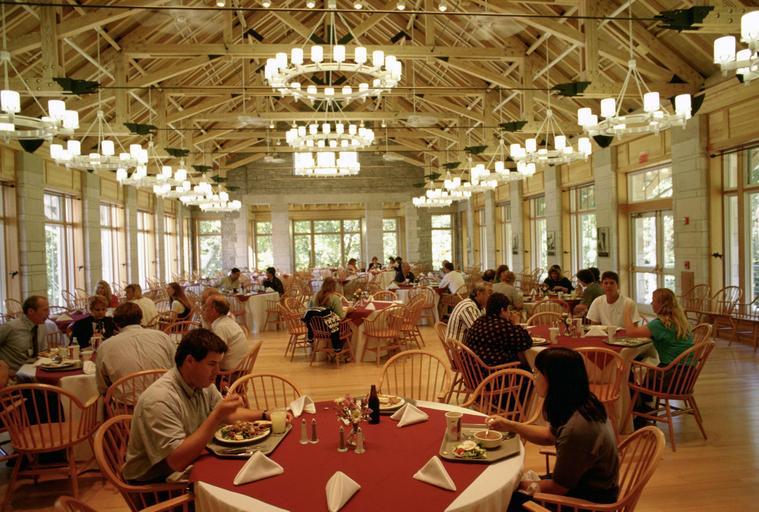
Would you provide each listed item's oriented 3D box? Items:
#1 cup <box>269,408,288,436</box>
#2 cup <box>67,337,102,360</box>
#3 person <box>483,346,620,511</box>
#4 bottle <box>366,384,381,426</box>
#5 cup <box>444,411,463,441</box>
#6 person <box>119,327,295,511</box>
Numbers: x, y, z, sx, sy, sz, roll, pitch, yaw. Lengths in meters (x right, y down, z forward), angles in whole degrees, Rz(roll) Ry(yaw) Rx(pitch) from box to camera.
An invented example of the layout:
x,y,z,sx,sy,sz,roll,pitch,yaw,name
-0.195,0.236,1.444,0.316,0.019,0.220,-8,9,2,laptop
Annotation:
x,y,z,sx,sy,sz,roll,pitch,yaw,name
-0.910,1.549,5.722,0.178,0.207,0.182,-1,2,0,cup
-3.693,1.167,7.768,0.413,0.416,0.283,4,-2,-37,cup
1.599,1.519,5.467,0.938,1.434,0.362,-3,-3,20,person
-0.048,1.413,5.941,0.125,0.356,0.450,-2,-3,-2,bottle
0.682,1.551,5.640,0.132,0.238,0.164,-2,-3,6,cup
-1.821,1.365,5.619,0.991,1.388,0.451,-1,-3,-20,person
